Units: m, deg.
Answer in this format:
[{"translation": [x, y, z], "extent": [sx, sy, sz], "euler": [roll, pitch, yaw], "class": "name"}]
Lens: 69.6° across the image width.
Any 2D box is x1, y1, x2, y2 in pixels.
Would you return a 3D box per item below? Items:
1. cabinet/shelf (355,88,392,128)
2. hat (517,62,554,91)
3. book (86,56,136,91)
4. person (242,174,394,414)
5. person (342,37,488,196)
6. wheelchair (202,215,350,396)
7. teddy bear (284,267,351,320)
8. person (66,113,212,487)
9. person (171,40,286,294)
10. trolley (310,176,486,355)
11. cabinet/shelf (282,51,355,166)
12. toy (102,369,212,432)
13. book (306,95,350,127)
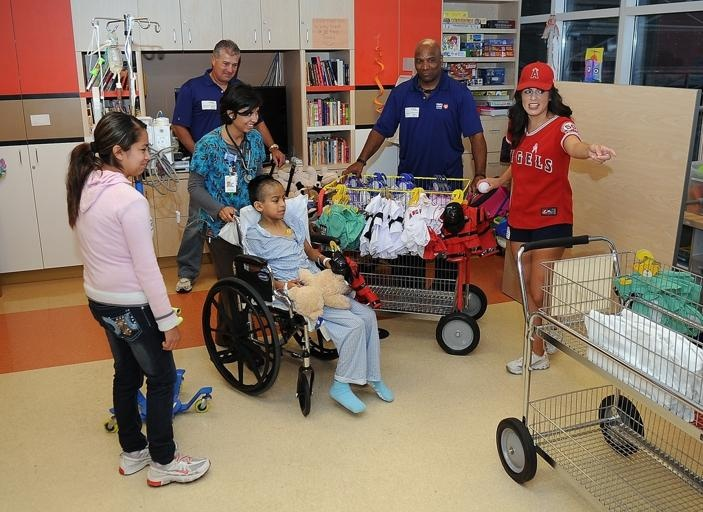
[{"translation": [0.196, -1.879, 6.373], "extent": [0.491, 0.493, 0.119], "euler": [-2, 17, -15], "class": "cabinet/shelf"}, {"translation": [1.301, -1.268, 3.516], "extent": [0.176, 0.147, 0.249], "euler": [14, 37, 27], "class": "hat"}, {"translation": [-2.585, -1.971, 5.443], "extent": [0.536, 0.327, 0.444], "euler": [-2, 17, -1], "class": "book"}, {"translation": [-0.255, 0.248, 3.626], "extent": [1.168, 1.517, 0.706], "euler": [9, 22, 43], "class": "person"}, {"translation": [0.712, -1.255, 4.750], "extent": [1.386, 1.395, 0.854], "euler": [11, 46, 22], "class": "person"}, {"translation": [-0.468, 0.285, 3.836], "extent": [1.026, 1.420, 1.015], "euler": [4, 11, 33], "class": "wheelchair"}, {"translation": [-0.217, 0.256, 3.489], "extent": [0.429, 0.304, 0.308], "euler": [-3, 17, -4], "class": "teddy bear"}, {"translation": [-1.168, 0.304, 2.777], "extent": [0.600, 2.110, 0.333], "euler": [5, 17, 20], "class": "person"}, {"translation": [-1.194, -0.390, 5.440], "extent": [1.206, 2.988, 0.986], "euler": [-10, 46, -29], "class": "person"}, {"translation": [0.517, 0.128, 4.365], "extent": [1.294, 1.105, 0.794], "euler": [6, 2, 18], "class": "trolley"}, {"translation": [-0.408, -1.933, 6.461], "extent": [0.748, 1.506, 0.770], "euler": [-9, 24, -21], "class": "cabinet/shelf"}, {"translation": [-1.309, 1.036, 3.506], "extent": [0.657, 0.235, 0.445], "euler": [-11, 20, -36], "class": "toy"}, {"translation": [-0.308, -1.690, 6.415], "extent": [0.555, 0.567, 0.347], "euler": [-3, 8, -20], "class": "book"}]
